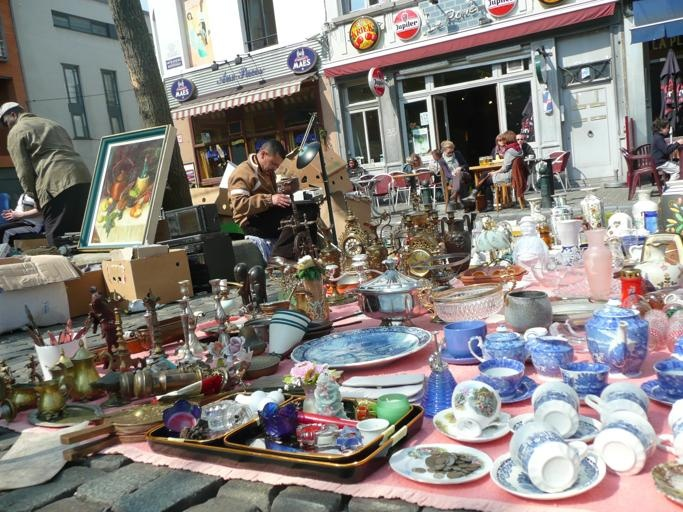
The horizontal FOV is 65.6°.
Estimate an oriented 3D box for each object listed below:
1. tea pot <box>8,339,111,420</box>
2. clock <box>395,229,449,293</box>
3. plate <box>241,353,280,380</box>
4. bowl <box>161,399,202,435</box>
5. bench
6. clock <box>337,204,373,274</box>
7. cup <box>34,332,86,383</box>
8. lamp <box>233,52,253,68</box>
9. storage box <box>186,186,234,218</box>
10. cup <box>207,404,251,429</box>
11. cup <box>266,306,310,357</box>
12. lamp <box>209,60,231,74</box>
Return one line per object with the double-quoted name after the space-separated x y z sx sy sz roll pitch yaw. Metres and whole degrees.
-1.223 0.557 2.279 0.313 0.215 0.329 0 5 0 "tea pot"
0.458 0.036 3.076 0.255 0.354 0.083 -6 -28 9 "clock"
-0.341 0.470 2.337 0.142 0.076 0.249 -7 7 0 "plate"
-0.543 0.541 1.774 0.128 0.054 0.121 -8 15 2 "bowl"
-1.345 0.009 6.133 0.757 0.525 0.800 -3 0 40 "bench"
0.113 -0.118 3.845 0.267 0.429 0.723 -7 7 1 "clock"
-1.320 0.458 2.467 0.191 0.178 0.213 -1 -1 -3 "cup"
-2.778 -5.574 15.067 0.755 0.336 0.114 -3 7 33 "lamp"
-2.024 -0.909 8.284 0.731 0.506 0.757 1 3 -22 "storage box"
-0.385 0.549 1.857 0.093 0.102 0.141 9 -13 -30 "cup"
-0.237 0.356 2.474 0.196 0.226 0.183 3 -10 0 "cup"
-3.522 -5.544 15.434 0.723 0.284 0.149 -4 7 23 "lamp"
